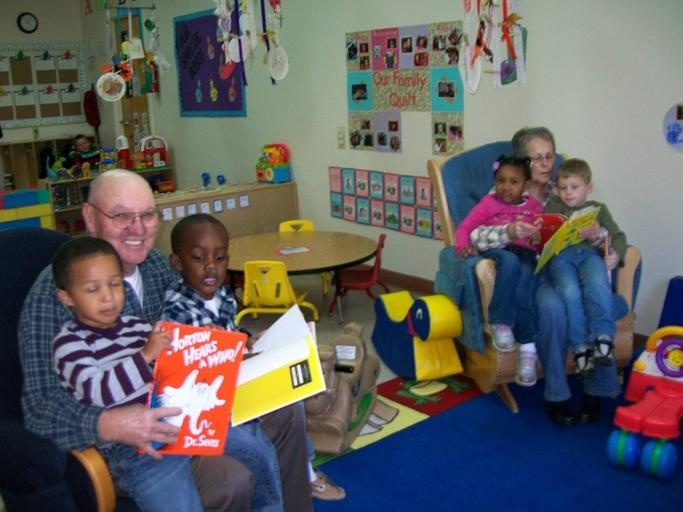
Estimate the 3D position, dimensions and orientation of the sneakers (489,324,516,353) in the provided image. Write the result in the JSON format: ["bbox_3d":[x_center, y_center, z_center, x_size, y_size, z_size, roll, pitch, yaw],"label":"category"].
[{"bbox_3d":[0.862,0.441,2.991,0.073,0.093,0.189,-5,13,-10],"label":"sneakers"}]

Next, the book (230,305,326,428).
[{"bbox_3d":[-0.218,0.399,2.019,0.377,0.140,0.395,-31,19,8],"label":"book"}]

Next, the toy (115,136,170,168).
[{"bbox_3d":[-2.525,-1.335,7.128,0.632,0.475,0.192,-10,3,-26],"label":"toy"}]

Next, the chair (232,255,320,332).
[{"bbox_3d":[-0.460,0.154,4.148,0.479,0.750,0.535,3,41,4],"label":"chair"}]

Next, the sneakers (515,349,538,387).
[{"bbox_3d":[0.998,0.607,2.987,0.081,0.217,0.093,0,-25,9],"label":"sneakers"}]

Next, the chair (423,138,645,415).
[{"bbox_3d":[1.117,0.060,3.338,1.011,1.471,1.015,-4,5,-2],"label":"chair"}]

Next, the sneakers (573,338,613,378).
[{"bbox_3d":[1.276,0.507,2.806,0.113,0.127,0.260,-5,17,30],"label":"sneakers"}]

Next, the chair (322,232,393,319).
[{"bbox_3d":[0.136,0.138,4.523,0.461,0.679,0.403,3,17,7],"label":"chair"}]

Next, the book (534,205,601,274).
[{"bbox_3d":[1.205,-0.081,2.933,0.475,0.067,0.347,-39,-10,-9],"label":"book"}]

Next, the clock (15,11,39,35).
[{"bbox_3d":[-4.671,-3.447,8.203,0.046,0.320,0.299,2,20,33],"label":"clock"}]

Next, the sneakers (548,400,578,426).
[{"bbox_3d":[1.190,0.840,3.018,0.087,0.117,0.168,-4,4,-18],"label":"sneakers"}]

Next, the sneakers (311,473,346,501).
[{"bbox_3d":[-0.066,1.055,2.507,0.090,0.050,0.169,-18,24,-41],"label":"sneakers"}]

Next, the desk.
[{"bbox_3d":[-0.376,0.178,4.568,1.160,0.513,1.211,-7,16,-21],"label":"desk"}]

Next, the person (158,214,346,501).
[{"bbox_3d":[-0.411,0.484,2.386,0.654,1.328,0.417,-1,11,9],"label":"person"}]

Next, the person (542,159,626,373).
[{"bbox_3d":[1.241,0.017,3.043,0.426,0.499,1.098,-5,53,19],"label":"person"}]

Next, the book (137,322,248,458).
[{"bbox_3d":[-0.469,0.418,1.780,0.281,0.366,0.172,0,12,8],"label":"book"}]

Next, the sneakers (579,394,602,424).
[{"bbox_3d":[1.343,0.817,2.971,0.069,0.098,0.214,1,14,23],"label":"sneakers"}]

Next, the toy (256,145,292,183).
[{"bbox_3d":[-0.728,-0.963,5.764,0.375,0.418,0.241,6,12,43],"label":"toy"}]

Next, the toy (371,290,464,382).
[{"bbox_3d":[0.472,0.487,3.565,0.343,0.530,0.653,1,8,-26],"label":"toy"}]
